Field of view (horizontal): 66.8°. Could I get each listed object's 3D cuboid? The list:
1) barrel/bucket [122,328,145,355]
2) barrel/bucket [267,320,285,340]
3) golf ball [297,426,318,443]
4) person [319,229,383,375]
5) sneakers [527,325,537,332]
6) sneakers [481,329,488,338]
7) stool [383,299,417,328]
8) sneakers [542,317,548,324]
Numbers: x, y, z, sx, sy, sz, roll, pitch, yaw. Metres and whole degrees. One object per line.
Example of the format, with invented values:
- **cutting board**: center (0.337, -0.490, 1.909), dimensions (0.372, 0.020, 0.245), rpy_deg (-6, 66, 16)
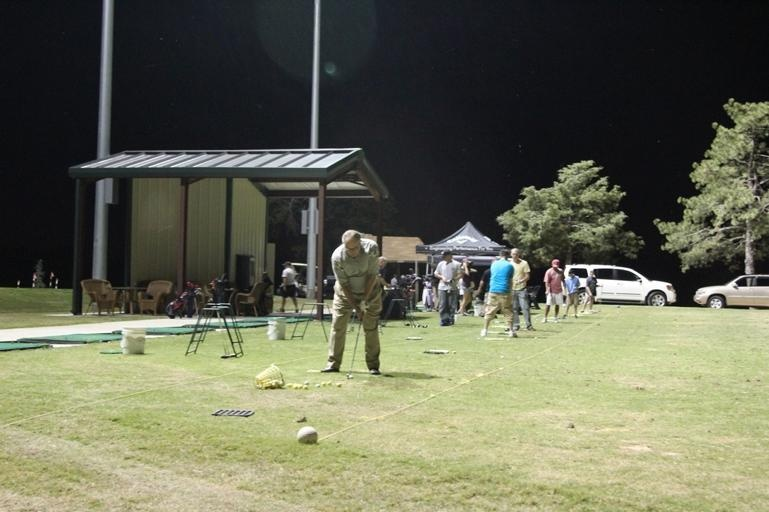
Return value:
- **barrel/bucket**: center (-4.324, 1.466, 10.056), dimensions (0.364, 0.406, 0.465), rpy_deg (2, -3, -25)
- **barrel/bucket**: center (-2.383, 1.624, 12.919), dimensions (0.439, 0.371, 0.414), rpy_deg (0, -5, 0)
- **golf ball**: center (-0.716, 1.662, 5.444), dimensions (0.158, 0.107, 0.146), rpy_deg (1, 27, -1)
- **person**: center (-0.466, 0.662, 8.566), dimensions (0.814, 2.113, 1.367), rpy_deg (1, -3, -1)
- **sneakers**: center (3.931, 1.961, 15.862), dimensions (0.141, 0.120, 0.294), rpy_deg (2, 4, 27)
- **sneakers**: center (2.353, 1.838, 13.952), dimensions (0.135, 0.136, 0.323), rpy_deg (4, 5, 12)
- **stool**: center (0.606, 1.834, 19.362), dimensions (1.198, 0.916, 0.737), rpy_deg (-2, -4, 15)
- **sneakers**: center (5.193, 2.112, 19.181), dimensions (0.192, 0.200, 0.543), rpy_deg (-2, -4, 21)
